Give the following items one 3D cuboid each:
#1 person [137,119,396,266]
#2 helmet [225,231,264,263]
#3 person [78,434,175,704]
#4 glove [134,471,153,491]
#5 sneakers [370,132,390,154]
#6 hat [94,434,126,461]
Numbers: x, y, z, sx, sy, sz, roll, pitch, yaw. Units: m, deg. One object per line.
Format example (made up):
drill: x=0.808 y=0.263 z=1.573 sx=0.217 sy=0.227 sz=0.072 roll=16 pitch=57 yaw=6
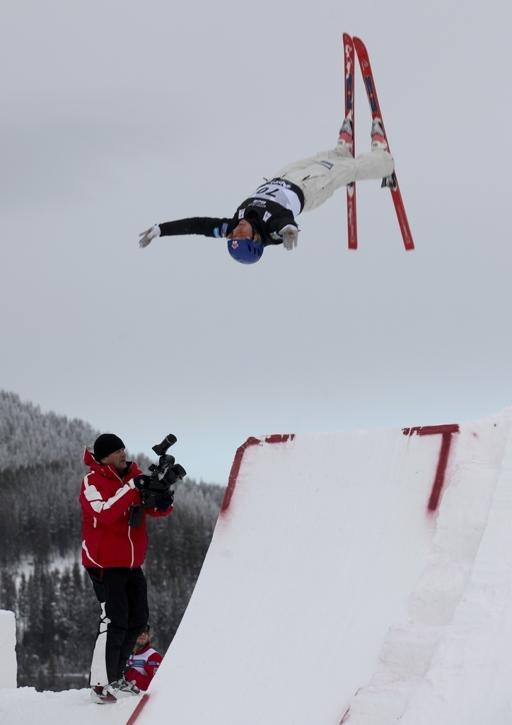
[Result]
person: x=0.233 y=-0.888 z=5.239 sx=0.862 sy=0.605 sz=1.365 roll=10 pitch=16 yaw=38
helmet: x=-0.051 y=-0.539 z=4.818 sx=0.168 sy=0.140 sz=0.229 roll=0 pitch=12 yaw=-2
person: x=-0.480 y=0.705 z=3.738 sx=0.371 sy=0.837 sz=0.615 roll=2 pitch=13 yaw=8
glove: x=-0.406 y=0.428 z=3.728 sx=0.050 sy=0.058 sz=0.024 roll=-4 pitch=1 yaw=2
sneakers: x=0.675 y=-1.244 z=5.721 sx=0.095 sy=0.110 sz=0.123 roll=-5 pitch=-5 yaw=13
hat: x=-0.547 y=0.305 z=3.862 sx=0.117 sy=0.086 sz=0.100 roll=-20 pitch=3 yaw=0
